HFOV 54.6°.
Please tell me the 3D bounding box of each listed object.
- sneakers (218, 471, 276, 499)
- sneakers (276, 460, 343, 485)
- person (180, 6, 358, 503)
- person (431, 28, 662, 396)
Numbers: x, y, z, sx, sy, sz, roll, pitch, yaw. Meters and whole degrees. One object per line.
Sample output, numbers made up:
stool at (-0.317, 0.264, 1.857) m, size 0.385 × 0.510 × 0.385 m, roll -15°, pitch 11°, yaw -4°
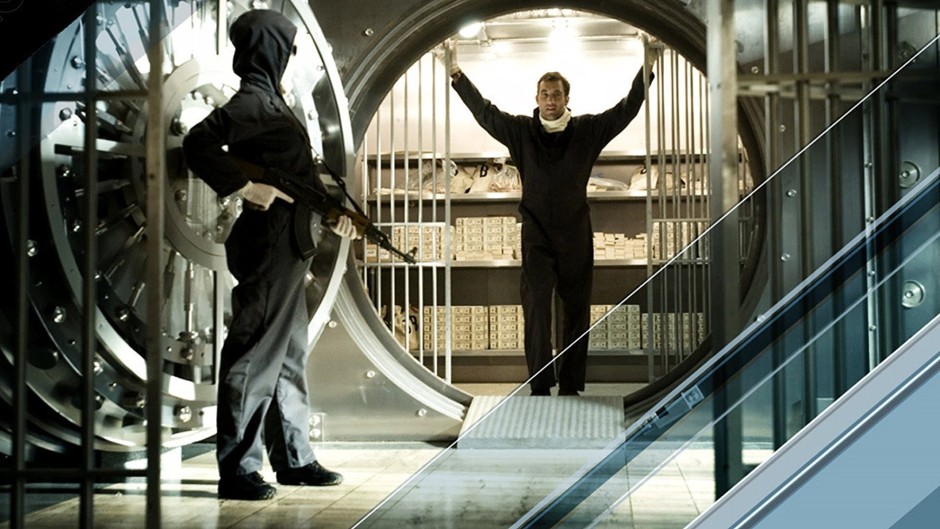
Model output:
sneakers at (-0.816, 0.815, 3.385) m, size 0.213 × 0.087 × 0.089 m, roll -2°, pitch -1°, yaw -4°
sneakers at (-0.610, 0.804, 3.539) m, size 0.268 × 0.119 × 0.093 m, roll -2°, pitch -5°, yaw -6°
person at (-0.756, -0.021, 3.358) m, size 0.378 × 1.760 × 0.613 m, roll -2°, pitch 15°, yaw 15°
person at (0.404, -0.325, 4.647) m, size 0.953 × 1.639 × 1.187 m, roll -8°, pitch 15°, yaw -8°
